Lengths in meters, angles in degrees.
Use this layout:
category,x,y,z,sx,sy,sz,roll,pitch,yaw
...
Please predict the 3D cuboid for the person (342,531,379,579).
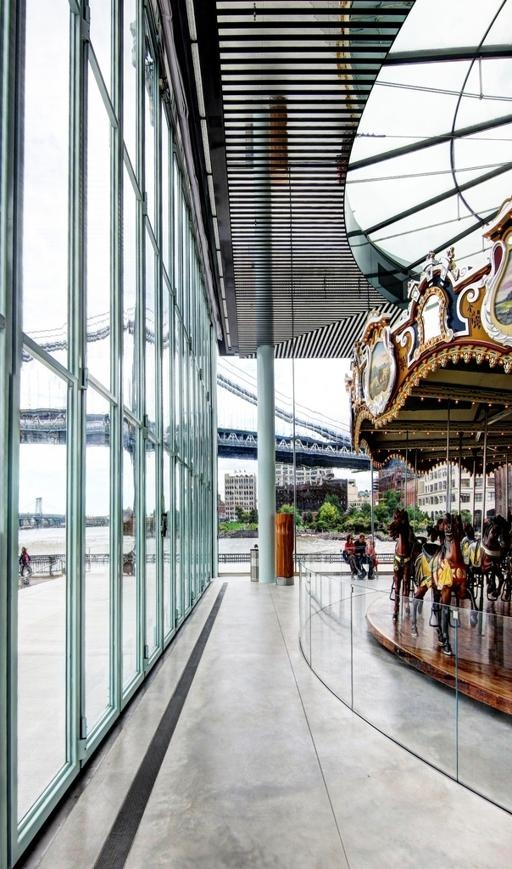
category,x,y,z,sx,sy,sz,roll,pitch,yaw
person,2.688,3.158,16.690,0.499,1.223,1.600,3,14,2
